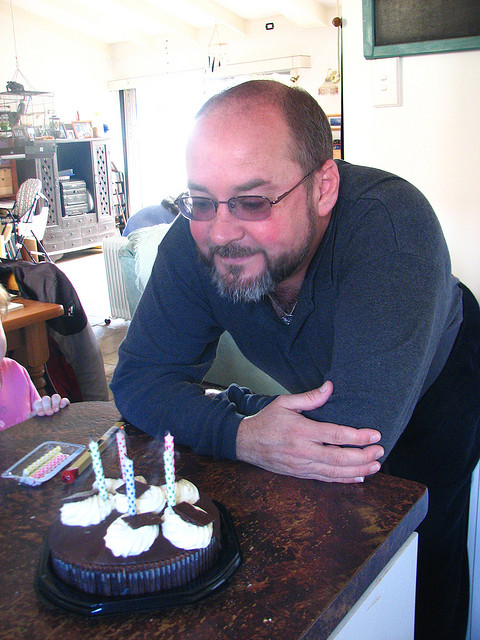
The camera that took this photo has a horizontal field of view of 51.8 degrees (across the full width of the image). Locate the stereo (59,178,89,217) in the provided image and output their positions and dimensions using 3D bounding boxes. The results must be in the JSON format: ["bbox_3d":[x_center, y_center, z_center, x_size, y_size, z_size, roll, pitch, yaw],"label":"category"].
[{"bbox_3d":[-2.601,-2.007,8.229,0.526,0.537,0.425,0,8,18],"label":"stereo"}]

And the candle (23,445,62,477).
[{"bbox_3d":[-0.319,0.228,0.785,0.011,0.012,0.052,7,20,17],"label":"candle"}]

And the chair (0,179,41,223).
[{"bbox_3d":[-2.757,-1.500,6.260,0.552,0.535,0.256,3,11,28],"label":"chair"}]

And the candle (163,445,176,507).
[{"bbox_3d":[-0.084,0.190,0.591,0.017,0.017,0.106,-17,28,1],"label":"candle"}]

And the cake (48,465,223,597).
[{"bbox_3d":[-0.121,0.224,0.576,0.201,0.079,0.197,-2,10,2],"label":"cake"}]

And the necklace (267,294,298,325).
[{"bbox_3d":[0.084,-0.021,0.992,0.060,0.072,0.008,-3,27,33],"label":"necklace"}]

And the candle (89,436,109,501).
[{"bbox_3d":[-0.170,0.192,0.626,0.014,0.105,0.012,15,36,31],"label":"candle"}]
